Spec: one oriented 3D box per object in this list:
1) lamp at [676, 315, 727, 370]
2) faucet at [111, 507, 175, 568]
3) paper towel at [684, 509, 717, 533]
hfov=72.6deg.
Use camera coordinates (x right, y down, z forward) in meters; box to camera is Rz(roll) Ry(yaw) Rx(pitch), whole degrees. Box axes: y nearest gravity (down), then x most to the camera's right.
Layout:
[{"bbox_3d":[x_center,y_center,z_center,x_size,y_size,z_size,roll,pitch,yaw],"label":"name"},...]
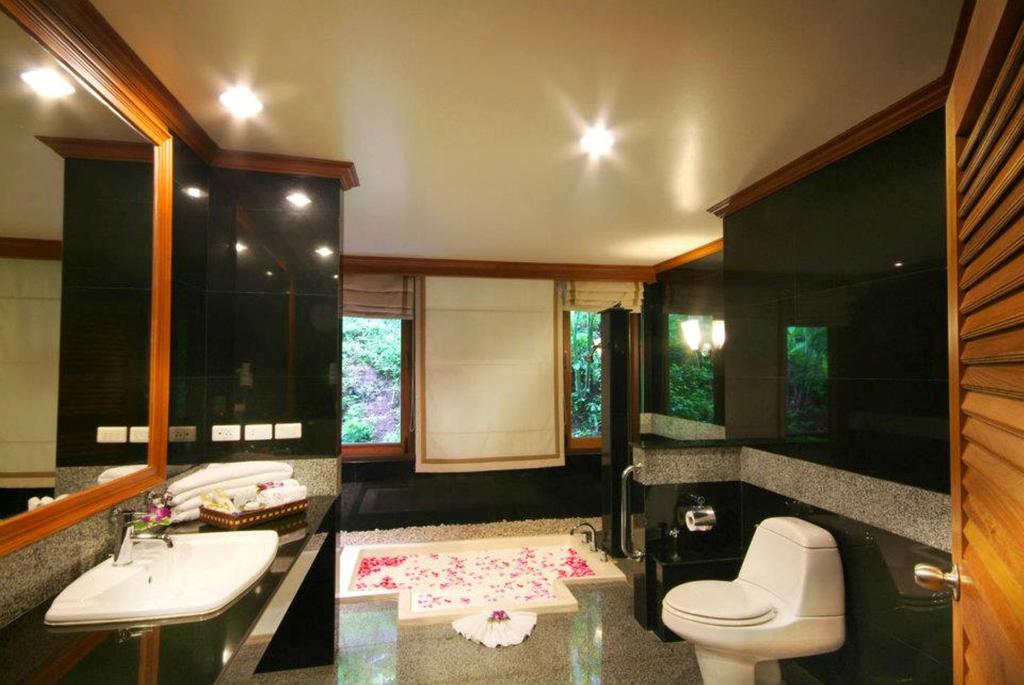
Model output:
[{"bbox_3d":[1.552,0.060,5.419,0.317,0.290,0.094,-13,30,2],"label":"lamp"},{"bbox_3d":[-1.607,0.827,3.014,0.187,0.189,0.222,-8,-13,38],"label":"faucet"},{"bbox_3d":[1.174,1.086,4.360,0.192,0.178,0.143,3,-6,-6],"label":"paper towel"}]
